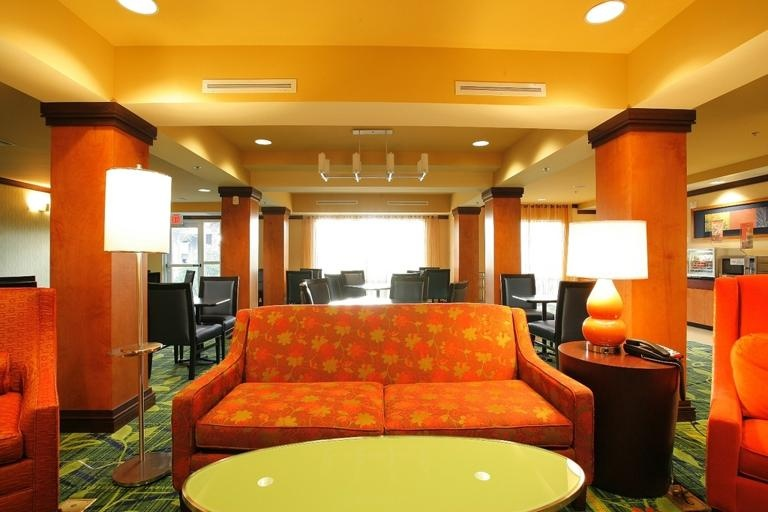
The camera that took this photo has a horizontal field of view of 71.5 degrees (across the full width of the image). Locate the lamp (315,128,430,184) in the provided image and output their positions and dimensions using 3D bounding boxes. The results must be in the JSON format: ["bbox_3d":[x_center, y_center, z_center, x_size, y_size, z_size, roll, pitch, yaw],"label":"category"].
[{"bbox_3d":[-0.189,-1.300,7.515,1.154,0.547,0.854,-1,0,-3],"label":"lamp"}]

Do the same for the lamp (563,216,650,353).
[{"bbox_3d":[1.745,0.231,4.121,0.595,1.028,0.353,-1,-2,13],"label":"lamp"}]

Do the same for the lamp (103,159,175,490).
[{"bbox_3d":[-2.032,0.521,4.412,0.498,2.456,0.840,0,-2,-25],"label":"lamp"}]

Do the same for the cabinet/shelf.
[{"bbox_3d":[1.811,1.231,4.246,0.955,0.954,0.914,0,4,4],"label":"cabinet/shelf"}]
